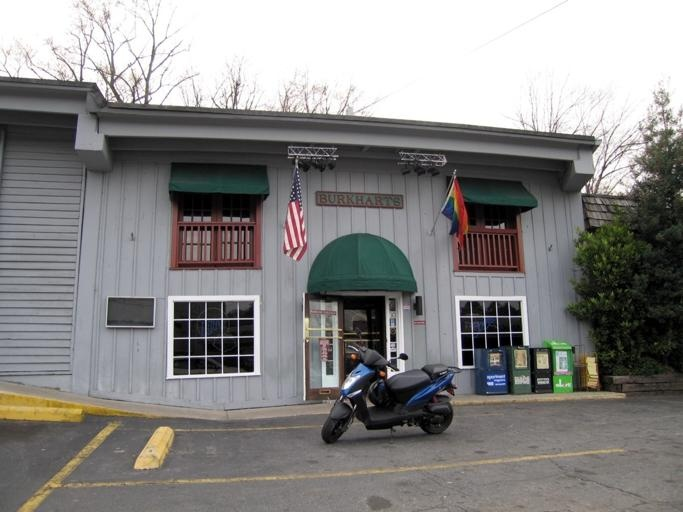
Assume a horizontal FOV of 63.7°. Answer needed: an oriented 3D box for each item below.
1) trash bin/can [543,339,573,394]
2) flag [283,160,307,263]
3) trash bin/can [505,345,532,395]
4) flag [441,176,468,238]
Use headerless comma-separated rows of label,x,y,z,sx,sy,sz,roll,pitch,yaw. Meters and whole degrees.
trash bin/can,6.306,3.175,15.898,0.842,1.444,0.873,-6,-10,41
flag,-1.228,-1.208,14.165,0.538,2.602,0.499,-1,-10,-6
trash bin/can,5.228,3.187,15.508,0.779,1.348,0.821,-1,-10,7
flag,3.153,-1.311,15.157,0.711,0.311,2.198,-4,-53,13
